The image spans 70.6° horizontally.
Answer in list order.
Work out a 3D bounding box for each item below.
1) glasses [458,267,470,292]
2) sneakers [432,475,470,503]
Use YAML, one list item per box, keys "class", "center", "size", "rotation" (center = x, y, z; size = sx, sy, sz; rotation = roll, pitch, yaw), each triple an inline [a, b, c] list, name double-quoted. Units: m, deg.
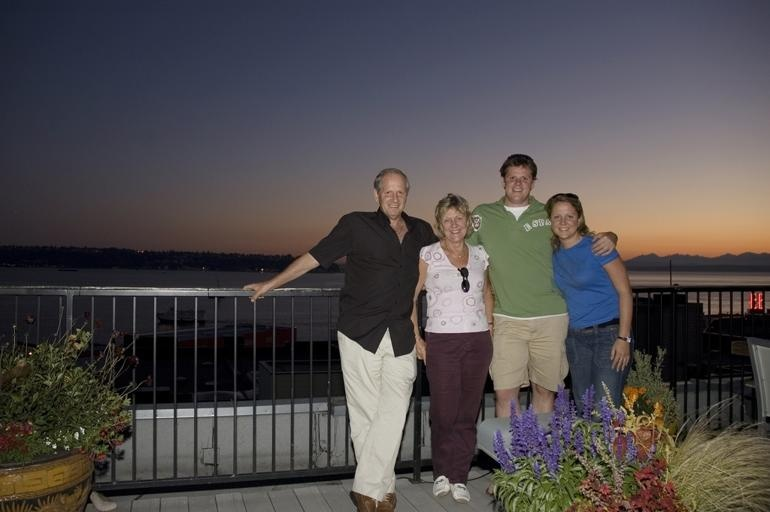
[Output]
- class: "glasses"
  center: [0.670, 0.195, 4.570]
  size: [0.104, 0.182, 0.032]
  rotation: [4, -3, -23]
- class: "sneakers"
  center: [0.542, 1.978, 4.719]
  size: [0.158, 0.148, 0.367]
  rotation: [9, 1, -40]
